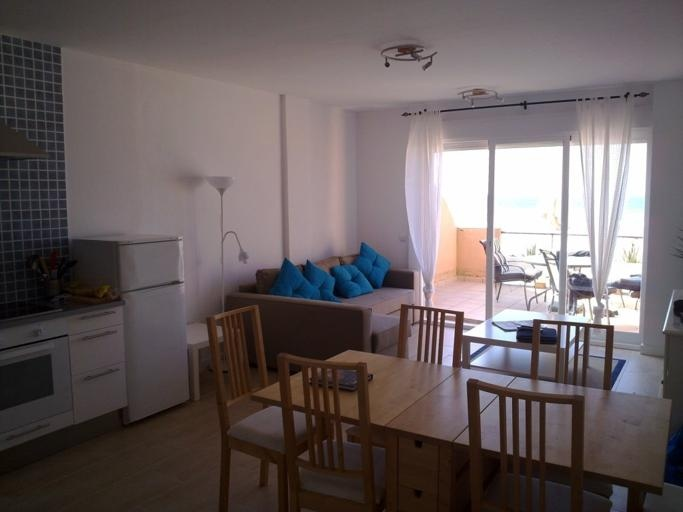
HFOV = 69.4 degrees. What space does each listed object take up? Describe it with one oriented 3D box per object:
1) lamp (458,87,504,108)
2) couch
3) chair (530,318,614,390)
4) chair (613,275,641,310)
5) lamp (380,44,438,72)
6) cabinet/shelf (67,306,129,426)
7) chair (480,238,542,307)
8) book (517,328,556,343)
[{"bbox_3d":[1.694,-1.931,6.042,0.526,0.163,0.836,4,11,19],"label":"lamp"},{"bbox_3d":[-0.144,0.228,5.127,1.118,0.679,1.609,1,7,27],"label":"couch"},{"bbox_3d":[1.710,0.749,3.711,0.394,0.518,0.769,4,8,29],"label":"chair"},{"bbox_3d":[3.447,0.387,5.925,0.416,0.228,0.317,3,7,33],"label":"chair"},{"bbox_3d":[0.590,-1.720,4.329,0.489,0.152,0.648,2,11,8],"label":"lamp"},{"bbox_3d":[-2.018,0.810,3.995,0.426,0.870,0.545,-7,12,-38],"label":"cabinet/shelf"},{"bbox_3d":[2.313,0.229,6.735,0.771,0.914,0.631,3,7,44],"label":"chair"},{"bbox_3d":[1.618,0.670,4.097,0.259,0.089,0.266,5,12,38],"label":"book"}]
